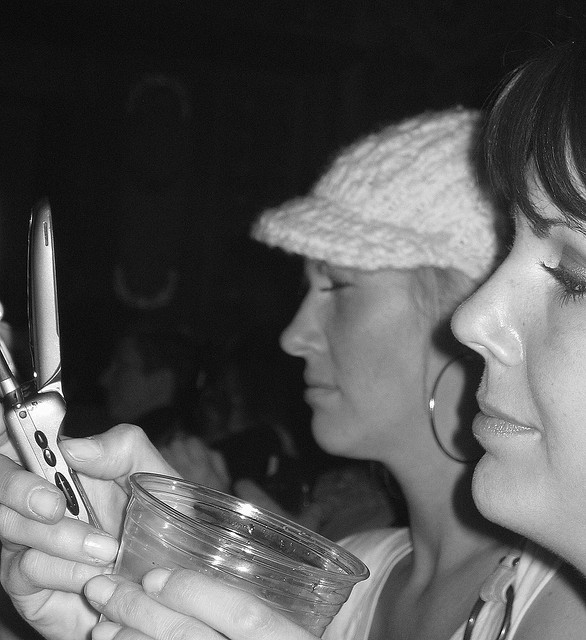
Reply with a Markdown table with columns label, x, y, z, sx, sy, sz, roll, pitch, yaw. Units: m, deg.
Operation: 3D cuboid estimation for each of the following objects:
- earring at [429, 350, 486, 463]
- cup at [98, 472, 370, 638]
| label | x | y | z | sx | sy | sz | roll | pitch | yaw |
| --- | --- | --- | --- | --- | --- | --- | --- | --- | --- |
| earring | 0.159 | 0.088 | 0.882 | 0.045 | 0.092 | 0.066 | 0 | 47 | -2 |
| cup | -0.043 | 0.141 | 0.656 | 0.118 | 0.152 | 0.149 | -59 | 31 | -8 |
